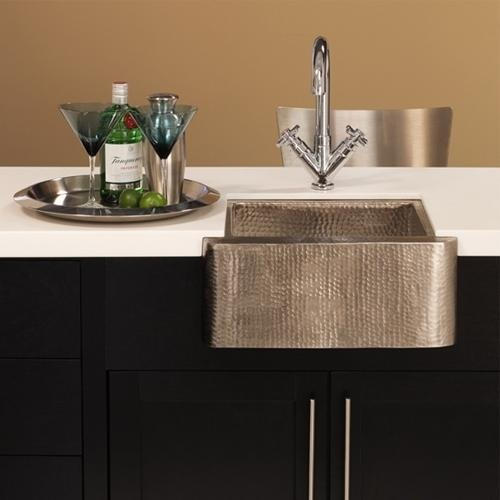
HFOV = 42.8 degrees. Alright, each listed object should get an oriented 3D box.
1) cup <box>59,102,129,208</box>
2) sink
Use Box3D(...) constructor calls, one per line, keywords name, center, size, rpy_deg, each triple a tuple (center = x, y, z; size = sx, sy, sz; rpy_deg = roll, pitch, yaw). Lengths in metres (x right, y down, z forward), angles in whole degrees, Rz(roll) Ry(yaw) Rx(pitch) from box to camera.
Box3D(name="cup", center=(-0.304, -0.183, 1.223), size=(0.115, 0.198, 0.074), rpy_deg=(4, 11, 27))
Box3D(name="sink", center=(0.147, 0.040, 1.284), size=(0.449, 0.270, 0.354), rpy_deg=(-1, 9, 2))
